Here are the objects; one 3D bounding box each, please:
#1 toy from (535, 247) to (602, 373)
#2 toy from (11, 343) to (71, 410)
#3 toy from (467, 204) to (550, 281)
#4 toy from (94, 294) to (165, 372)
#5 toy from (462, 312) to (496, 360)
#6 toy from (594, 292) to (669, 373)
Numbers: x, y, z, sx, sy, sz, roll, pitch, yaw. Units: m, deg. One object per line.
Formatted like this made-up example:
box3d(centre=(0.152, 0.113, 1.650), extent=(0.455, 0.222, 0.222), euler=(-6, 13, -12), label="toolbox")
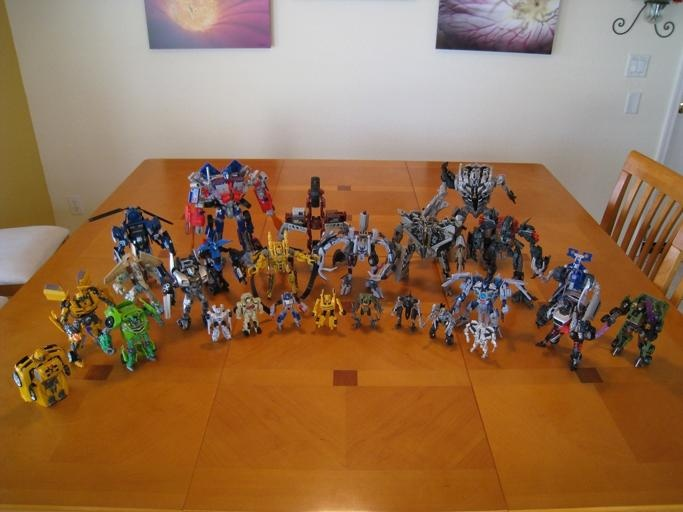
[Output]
box3d(centre=(1.009, 0.230, 2.041), extent=(0.174, 0.499, 0.274), euler=(-19, 27, -32), label="toy")
box3d(centre=(-1.184, 0.500, 1.818), extent=(0.193, 0.162, 0.262), euler=(-20, 59, -44), label="toy")
box3d(centre=(0.892, -0.026, 2.474), extent=(0.429, 0.478, 0.170), euler=(22, 57, 32), label="toy")
box3d(centre=(-0.916, 0.342, 2.017), extent=(0.122, 0.318, 0.258), euler=(17, 27, 35), label="toy")
box3d(centre=(0.629, 0.374, 2.038), extent=(0.141, 0.183, 0.052), euler=(18, 40, 42), label="toy")
box3d(centre=(1.272, 0.314, 1.987), extent=(0.133, 0.288, 0.196), euler=(-9, 25, -31), label="toy")
